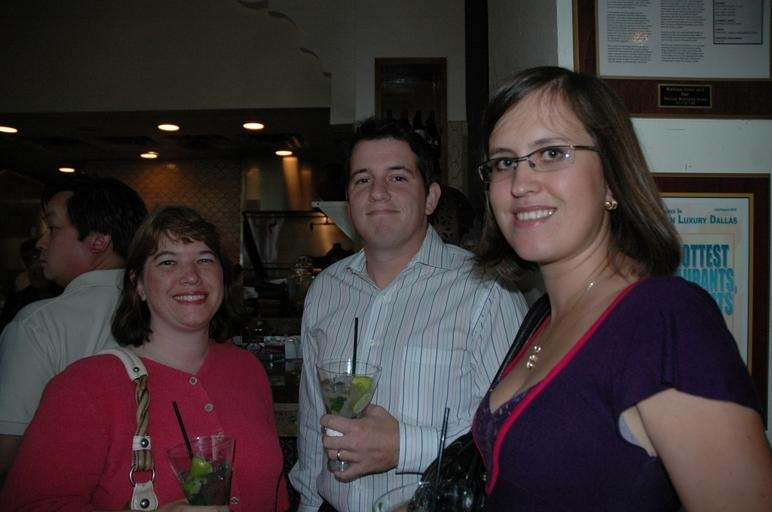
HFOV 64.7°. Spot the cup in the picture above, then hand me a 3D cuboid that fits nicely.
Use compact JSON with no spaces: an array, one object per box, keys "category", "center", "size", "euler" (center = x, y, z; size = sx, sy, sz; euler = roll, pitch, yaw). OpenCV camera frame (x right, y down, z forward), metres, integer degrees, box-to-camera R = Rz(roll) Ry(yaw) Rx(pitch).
[{"category":"cup","center":[-0.684,0.831,2.425],"size":[0.256,0.259,0.278],"euler":[0,-5,0]}]

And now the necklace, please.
[{"category":"necklace","center":[0.652,0.269,2.206],"size":[0.119,0.327,0.240],"euler":[35,5,31]}]

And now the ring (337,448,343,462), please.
[{"category":"ring","center":[-0.192,0.841,2.555],"size":[0.024,0.066,0.035],"euler":[-2,4,4]}]
